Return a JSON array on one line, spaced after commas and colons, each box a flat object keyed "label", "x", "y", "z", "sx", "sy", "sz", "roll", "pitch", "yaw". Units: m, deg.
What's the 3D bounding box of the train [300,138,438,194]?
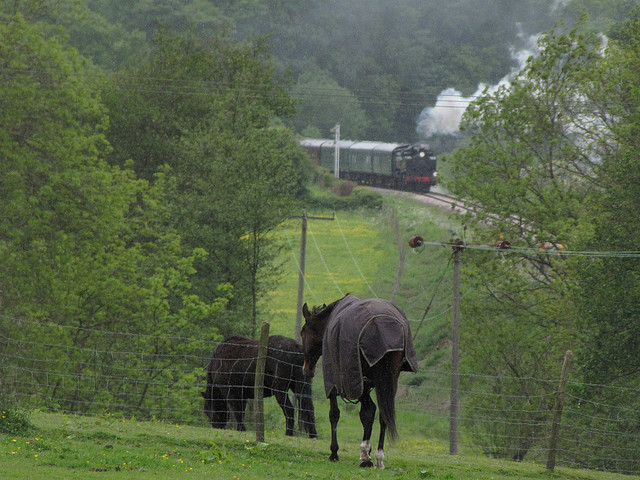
[{"label": "train", "x": 4.325, "y": -7.656, "z": 137.426, "sx": 3.889, "sy": 4.748, "sz": 24.770, "roll": 3, "pitch": 4, "yaw": -21}]

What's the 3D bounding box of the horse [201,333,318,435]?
[{"label": "horse", "x": -3.677, "y": 8.432, "z": 82.812, "sx": 8.313, "sy": 5.756, "sz": 2.617, "roll": -6, "pitch": -6, "yaw": 39}]
